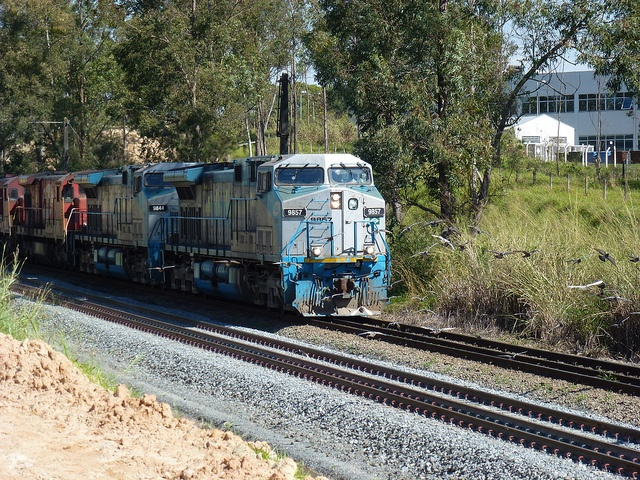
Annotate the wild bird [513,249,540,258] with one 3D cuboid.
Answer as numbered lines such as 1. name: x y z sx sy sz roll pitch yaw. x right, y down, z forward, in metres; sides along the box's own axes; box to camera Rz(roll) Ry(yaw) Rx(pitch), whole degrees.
1. wild bird: 5.198 0.318 19.437 0.600 0.203 1.124 0 0 -6

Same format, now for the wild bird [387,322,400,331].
1. wild bird: 1.889 2.184 20.131 0.368 0.198 0.401 0 0 19

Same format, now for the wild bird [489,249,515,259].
1. wild bird: 4.598 0.352 19.925 0.557 0.224 0.931 0 0 -22

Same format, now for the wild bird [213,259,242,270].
1. wild bird: -2.673 0.657 22.324 0.523 0.214 0.117 7 -8 39

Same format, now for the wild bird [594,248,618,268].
1. wild bird: 6.540 0.351 17.696 0.211 0.358 0.619 -23 33 -13

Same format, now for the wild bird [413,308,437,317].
1. wild bird: 2.891 1.937 21.218 0.260 0.135 0.884 0 0 -34

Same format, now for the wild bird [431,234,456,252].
1. wild bird: 3.498 0.060 21.634 0.200 0.433 0.773 6 14 -25

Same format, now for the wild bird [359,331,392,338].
1. wild bird: 1.314 2.337 19.477 0.816 0.145 0.230 0 0 34
